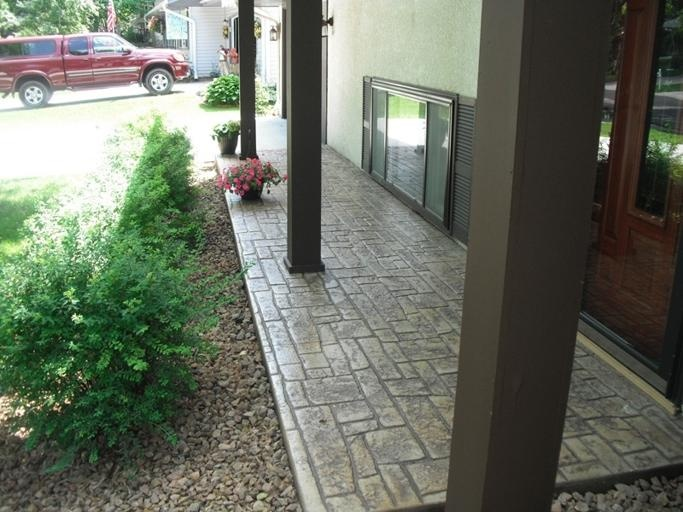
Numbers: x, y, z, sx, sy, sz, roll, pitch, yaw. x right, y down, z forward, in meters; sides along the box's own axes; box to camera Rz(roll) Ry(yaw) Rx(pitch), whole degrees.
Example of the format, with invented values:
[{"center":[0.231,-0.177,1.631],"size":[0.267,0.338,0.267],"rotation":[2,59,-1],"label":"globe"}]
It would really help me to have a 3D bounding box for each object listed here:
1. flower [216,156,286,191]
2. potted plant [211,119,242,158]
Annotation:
[{"center":[-1.585,-1.392,8.124],"size":[0.817,0.500,0.840],"rotation":[-6,27,-11],"label":"flower"},{"center":[-2.591,-2.668,10.709],"size":[0.660,0.733,0.514],"rotation":[-2,25,-3],"label":"potted plant"}]
